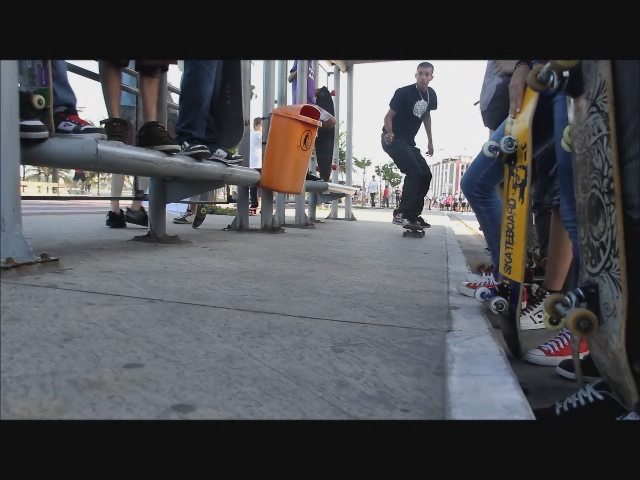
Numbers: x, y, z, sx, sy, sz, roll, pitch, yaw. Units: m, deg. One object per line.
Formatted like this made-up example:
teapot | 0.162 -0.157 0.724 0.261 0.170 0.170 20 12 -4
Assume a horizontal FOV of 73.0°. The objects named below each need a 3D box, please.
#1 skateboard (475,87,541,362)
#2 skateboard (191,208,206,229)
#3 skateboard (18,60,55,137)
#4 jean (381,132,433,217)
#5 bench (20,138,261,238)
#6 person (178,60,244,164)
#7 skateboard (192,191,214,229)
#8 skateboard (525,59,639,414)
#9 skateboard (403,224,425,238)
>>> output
skateboard | 0.728 -0.062 1.728 0.152 1.119 0.226 3 3 25
skateboard | -1.492 -0.276 5.340 0.090 0.310 0.125 26 -8 -25
skateboard | -1.499 -0.782 2.356 0.100 0.381 0.191 -2 6 -20
jean | 1.079 -0.830 5.370 0.647 1.002 0.543 4 9 11
bench | -1.215 -0.355 3.225 0.364 0.558 2.339 12 8 30
person | -0.941 -1.111 3.690 0.524 0.973 0.362 -2 -8 -14
skateboard | -1.513 -0.402 5.581 0.219 0.553 0.156 10 8 -46
skateboard | 0.723 -0.040 1.239 0.155 1.210 0.245 -3 0 24
skateboard | 1.127 -0.130 5.166 0.259 0.148 0.169 2 9 -5
